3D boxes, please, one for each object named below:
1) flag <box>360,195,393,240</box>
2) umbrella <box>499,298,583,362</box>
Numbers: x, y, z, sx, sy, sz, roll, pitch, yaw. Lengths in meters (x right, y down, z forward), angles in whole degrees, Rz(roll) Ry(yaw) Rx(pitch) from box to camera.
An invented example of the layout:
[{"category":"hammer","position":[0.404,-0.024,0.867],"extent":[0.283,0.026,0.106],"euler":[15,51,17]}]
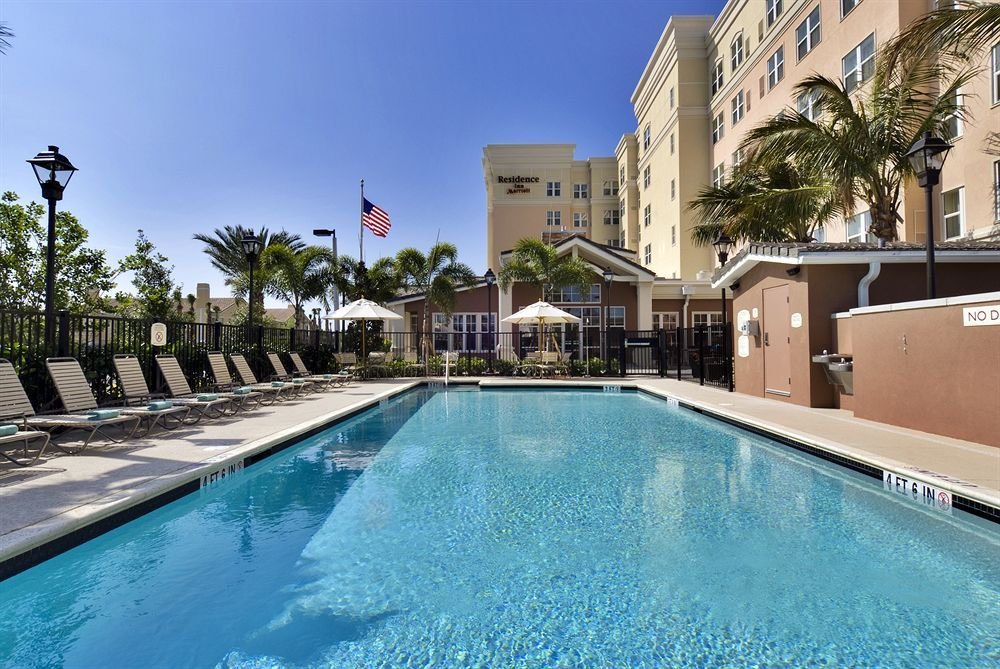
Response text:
[{"category":"flag","position":[-6.025,-5.727,33.998],"extent":[1.205,1.986,1.353],"euler":[-5,4,-32]},{"category":"umbrella","position":[1.785,-0.166,29.055],"extent":[2.222,2.410,4.506],"euler":[-3,3,5]}]
